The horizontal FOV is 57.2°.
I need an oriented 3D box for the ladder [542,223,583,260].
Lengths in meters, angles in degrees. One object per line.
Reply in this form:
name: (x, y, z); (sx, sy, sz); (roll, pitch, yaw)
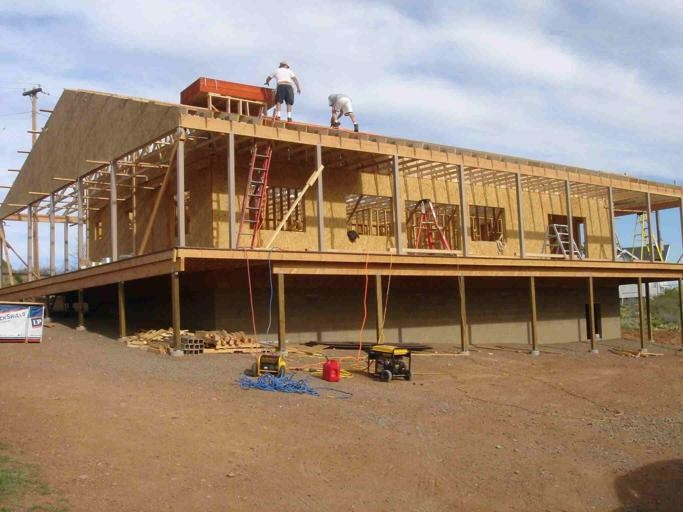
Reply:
ladder: (10.449, -0.728, 29.207); (1.685, 1.449, 6.846); (6, 5, 21)

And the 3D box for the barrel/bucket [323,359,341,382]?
barrel/bucket: (-0.255, 3.064, 16.757); (0.478, 0.506, 0.550); (4, 5, -5)

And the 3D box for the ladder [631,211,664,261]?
ladder: (14.688, -0.742, 30.244); (1.694, 2.328, 1.693); (-8, -4, 38)

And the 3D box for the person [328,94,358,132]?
person: (0.025, -5.746, 24.695); (0.710, 1.328, 1.625); (3, 5, -13)
